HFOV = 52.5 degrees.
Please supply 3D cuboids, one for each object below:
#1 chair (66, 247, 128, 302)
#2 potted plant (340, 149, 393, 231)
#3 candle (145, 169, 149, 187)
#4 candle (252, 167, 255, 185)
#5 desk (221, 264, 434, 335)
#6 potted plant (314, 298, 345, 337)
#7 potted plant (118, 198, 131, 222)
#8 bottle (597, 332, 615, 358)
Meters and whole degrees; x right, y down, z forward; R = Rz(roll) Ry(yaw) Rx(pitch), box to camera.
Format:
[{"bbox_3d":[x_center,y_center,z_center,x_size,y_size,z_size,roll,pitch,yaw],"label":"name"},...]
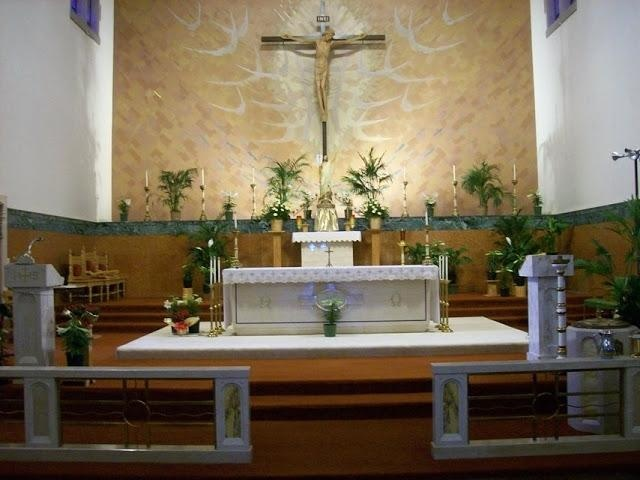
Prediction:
[{"bbox_3d":[-4.245,0.693,12.409,0.357,0.694,1.049,-1,-2,8],"label":"chair"},{"bbox_3d":[1.000,-1.142,13.720,1.088,1.310,1.922,-2,-1,5],"label":"potted plant"},{"bbox_3d":[-3.789,-1.400,14.377,0.087,0.324,0.135,-2,-1,-22],"label":"candle"},{"bbox_3d":[-1.456,-1.431,14.407,0.100,0.377,0.365,-2,-1,-6],"label":"candle"},{"bbox_3d":[0.269,0.947,10.441,3.461,1.090,1.029,-2,-1,15],"label":"desk"},{"bbox_3d":[0.164,1.183,9.945,0.523,0.571,0.514,3,-3,-39],"label":"potted plant"},{"bbox_3d":[-4.149,-0.657,13.926,0.271,0.593,1.104,-2,-1,-17],"label":"potted plant"},{"bbox_3d":[3.213,1.168,7.306,0.159,0.280,0.155,-2,-1,0],"label":"bottle"}]
